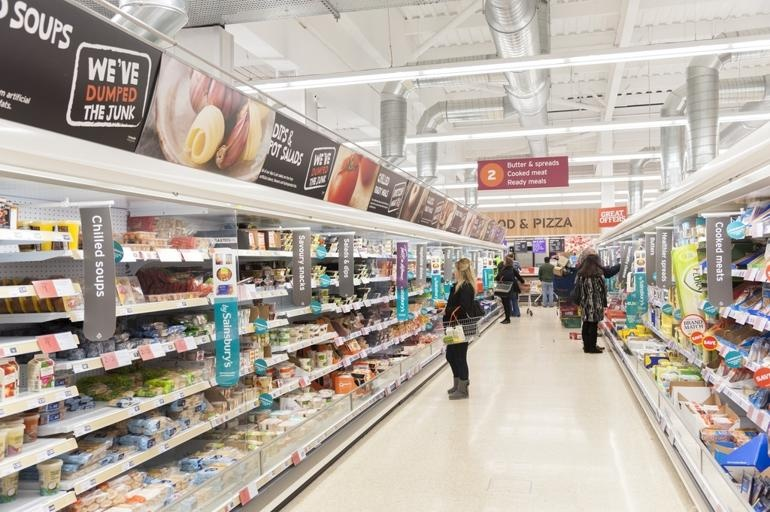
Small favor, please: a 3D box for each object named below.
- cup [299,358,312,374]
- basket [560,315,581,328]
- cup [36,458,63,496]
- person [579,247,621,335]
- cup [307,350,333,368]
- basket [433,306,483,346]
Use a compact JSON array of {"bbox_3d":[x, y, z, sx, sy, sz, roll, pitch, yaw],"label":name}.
[{"bbox_3d":[-0.903,1.231,5.518,0.152,0.137,0.148,2,5,0],"label":"cup"},{"bbox_3d":[4.950,1.736,13.031,0.409,0.232,0.406,1,-2,22],"label":"basket"},{"bbox_3d":[-2.085,1.343,3.017,0.126,0.188,0.158,-2,0,-34],"label":"cup"},{"bbox_3d":[4.131,0.906,9.816,0.671,1.984,0.693,-6,-16,44],"label":"person"},{"bbox_3d":[-0.776,1.212,5.816,0.162,0.125,0.210,2,3,9],"label":"cup"},{"bbox_3d":[1.016,0.967,6.629,0.608,0.532,0.522,2,5,29],"label":"basket"}]
